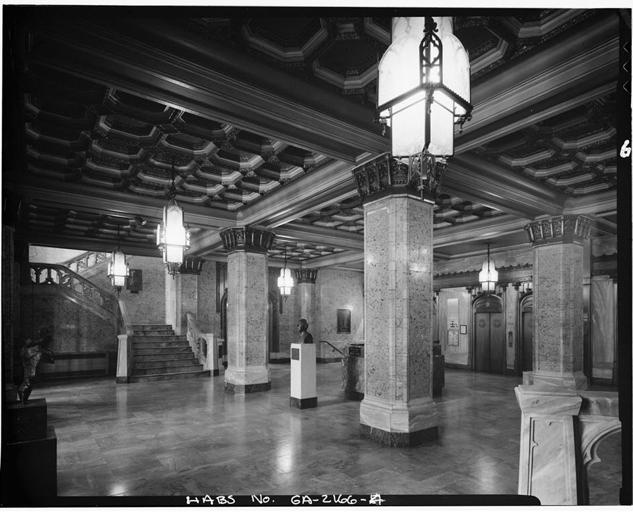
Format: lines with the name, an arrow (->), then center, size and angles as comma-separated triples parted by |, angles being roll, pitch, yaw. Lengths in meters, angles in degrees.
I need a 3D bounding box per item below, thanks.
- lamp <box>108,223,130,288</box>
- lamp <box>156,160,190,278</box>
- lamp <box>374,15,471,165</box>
lamp -> -5.168, 0.086, 12.245 | 0.394, 1.898, 0.400 | 3, -16, -31
lamp -> -2.562, -0.732, 8.409 | 0.508, 2.126, 1.328 | 1, -4, -19
lamp -> 1.006, -1.668, 4.370 | 0.873, 1.510, 0.613 | 0, -4, 10
